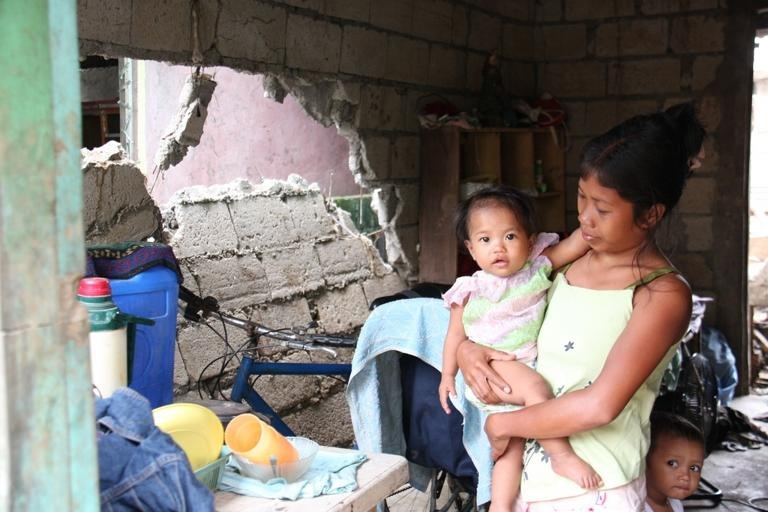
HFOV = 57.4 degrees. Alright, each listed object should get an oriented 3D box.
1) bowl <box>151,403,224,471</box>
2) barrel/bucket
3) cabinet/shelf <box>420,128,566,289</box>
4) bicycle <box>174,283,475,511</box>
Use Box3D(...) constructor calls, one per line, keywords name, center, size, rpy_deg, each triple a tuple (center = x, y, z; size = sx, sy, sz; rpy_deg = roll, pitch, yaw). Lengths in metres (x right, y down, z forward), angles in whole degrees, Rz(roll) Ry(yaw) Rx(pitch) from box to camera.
Box3D(name="bowl", center=(-0.453, 0.409, 1.634), size=(0.160, 0.120, 0.133), rpy_deg=(4, 7, 37))
Box3D(name="barrel/bucket", center=(-0.685, 0.234, 2.044), size=(0.193, 0.399, 0.140), rpy_deg=(-4, 7, -25))
Box3D(name="cabinet/shelf", center=(0.457, -0.256, 3.311), size=(0.305, 0.992, 0.989), rpy_deg=(-3, -6, 37))
Box3D(name="bicycle", center=(-0.252, 0.473, 2.749), size=(1.242, 0.782, 0.776), rpy_deg=(6, 8, 3))
